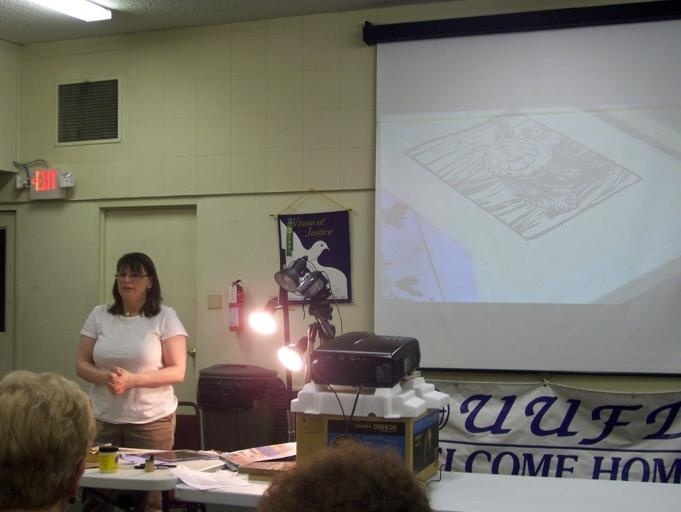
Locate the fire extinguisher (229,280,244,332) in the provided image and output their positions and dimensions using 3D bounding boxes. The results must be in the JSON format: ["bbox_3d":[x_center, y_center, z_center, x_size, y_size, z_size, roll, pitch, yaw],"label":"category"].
[{"bbox_3d":[-0.974,0.481,5.990,0.159,0.533,0.457,0,-1,0],"label":"fire extinguisher"}]

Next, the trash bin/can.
[{"bbox_3d":[-0.835,1.239,5.324,0.588,0.784,0.650,-1,-8,4],"label":"trash bin/can"}]

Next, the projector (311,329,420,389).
[{"bbox_3d":[0.130,0.565,3.494,0.488,0.234,0.476,2,5,23],"label":"projector"}]

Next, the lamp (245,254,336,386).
[{"bbox_3d":[-0.334,0.461,4.279,0.512,0.937,1.714,-1,5,-7],"label":"lamp"}]
